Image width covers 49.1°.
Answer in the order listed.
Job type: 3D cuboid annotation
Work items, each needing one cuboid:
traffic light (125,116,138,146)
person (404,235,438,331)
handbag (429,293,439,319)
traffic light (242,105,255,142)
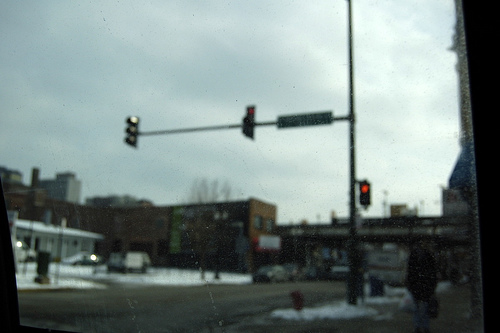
[{"bbox_3d":[-1.743,-0.532,8.103,0.176,0.366,0.327,2,-10,-14],"label":"traffic light"},{"bbox_3d":[2.102,1.412,6.747,0.407,1.153,0.220,-3,-9,17],"label":"person"},{"bbox_3d":[2.215,1.673,6.622,0.132,0.291,0.062,-1,-9,3],"label":"handbag"},{"bbox_3d":[0.010,-0.607,7.453,0.159,0.525,0.327,3,-10,-20],"label":"traffic light"}]
